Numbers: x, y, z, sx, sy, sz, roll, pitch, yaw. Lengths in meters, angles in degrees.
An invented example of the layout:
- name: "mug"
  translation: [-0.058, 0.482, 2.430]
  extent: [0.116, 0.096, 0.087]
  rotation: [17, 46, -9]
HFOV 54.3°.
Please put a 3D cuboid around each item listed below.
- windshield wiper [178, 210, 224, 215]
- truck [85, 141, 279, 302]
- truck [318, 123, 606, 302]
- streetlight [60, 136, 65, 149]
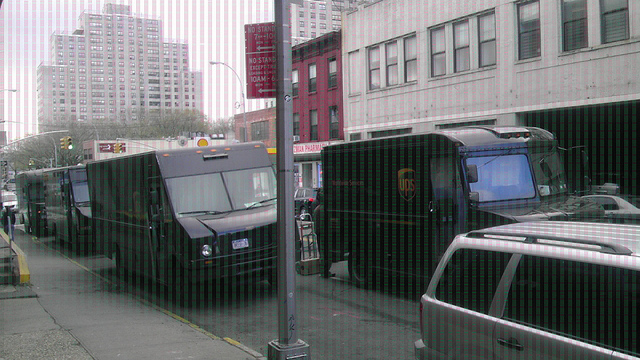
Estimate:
- name: "windshield wiper"
  translation: [-3.580, 0.939, 18.337]
  extent: [1.176, 0.090, 0.056]
  rotation: [-2, 10, -11]
- name: "truck"
  translation: [-5.121, 0.988, 20.549]
  extent: [9.121, 4.641, 3.215]
  rotation: [7, 12, 39]
- name: "truck"
  translation: [3.570, 0.778, 20.110]
  extent: [8.314, 4.498, 5.071]
  rotation: [-2, -1, 44]
- name: "streetlight"
  translation: [-8.907, -1.299, 21.486]
  extent: [0.077, 0.267, 0.275]
  rotation: [8, 23, 12]
